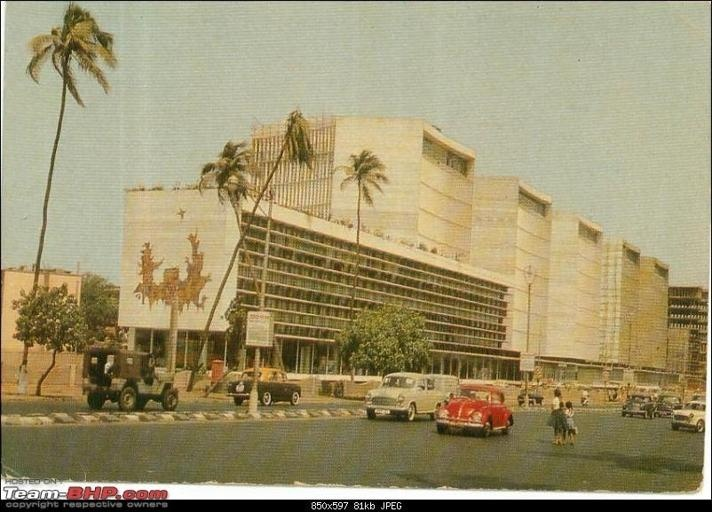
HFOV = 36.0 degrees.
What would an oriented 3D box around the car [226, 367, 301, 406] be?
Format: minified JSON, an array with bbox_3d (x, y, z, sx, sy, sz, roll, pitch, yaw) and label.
[{"bbox_3d":[-2.446,3.447,28.820,1.698,0.757,0.916,4,-6,-40],"label":"car"}]

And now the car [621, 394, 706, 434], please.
[{"bbox_3d":[7.432,3.777,26.305,1.873,0.840,0.899,1,-13,17],"label":"car"}]

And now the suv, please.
[{"bbox_3d":[-5.577,3.113,27.579,2.254,1.363,1.323,5,-7,-44],"label":"suv"}]

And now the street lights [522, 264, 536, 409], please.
[{"bbox_3d":[4.420,2.080,28.216,0.256,3.684,0.509,3,-12,9],"label":"street lights"}]

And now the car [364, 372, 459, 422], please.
[{"bbox_3d":[1.464,3.655,28.392,1.105,0.927,2.239,-8,-14,38],"label":"car"}]

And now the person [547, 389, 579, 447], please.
[{"bbox_3d":[5.015,3.992,26.468,0.680,1.217,0.707,2,-13,13],"label":"person"}]
